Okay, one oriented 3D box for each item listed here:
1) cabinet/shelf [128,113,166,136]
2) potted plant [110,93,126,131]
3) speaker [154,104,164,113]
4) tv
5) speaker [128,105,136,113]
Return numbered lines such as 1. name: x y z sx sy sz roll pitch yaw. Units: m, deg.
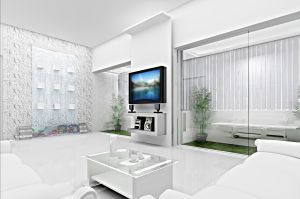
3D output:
1. cabinet/shelf: -0.128 0.820 6.280 1.309 0.763 0.426 -3 -4 42
2. potted plant: -1.618 0.645 9.630 0.564 1.777 0.463 -2 -4 42
3. speaker: 0.267 0.279 6.021 0.247 0.240 0.233 0 0 10
4. tv: -0.189 -0.265 6.410 0.223 1.375 1.738 9 12 41
5. speaker: -0.681 0.341 6.909 0.293 0.254 0.238 0 3 29
